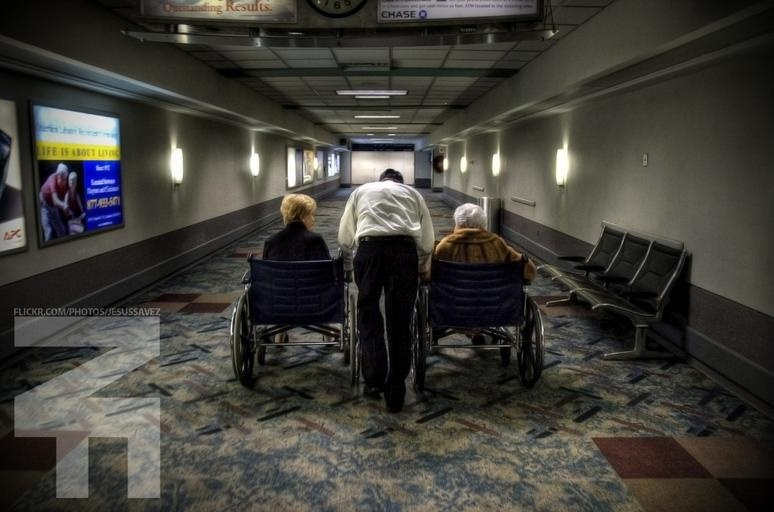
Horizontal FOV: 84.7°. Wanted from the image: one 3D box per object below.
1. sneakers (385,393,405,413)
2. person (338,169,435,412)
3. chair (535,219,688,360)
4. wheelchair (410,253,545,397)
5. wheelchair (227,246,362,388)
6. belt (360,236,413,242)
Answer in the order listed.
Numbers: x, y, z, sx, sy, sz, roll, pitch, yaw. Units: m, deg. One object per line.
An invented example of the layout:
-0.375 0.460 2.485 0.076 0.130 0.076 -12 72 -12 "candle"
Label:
0.065 1.232 3.508 0.112 0.168 0.180 0 -17 1 "sneakers"
0.010 0.317 3.667 0.618 1.887 0.742 -4 13 -34 "person"
2.695 0.309 5.362 0.935 1.111 2.208 -6 9 9 "chair"
0.800 0.431 4.235 0.963 0.980 1.408 0 9 1 "wheelchair"
-0.847 0.576 4.218 1.149 1.146 1.543 -2 3 -10 "wheelchair"
0.009 -0.147 3.480 0.423 0.058 0.079 2 10 -2 "belt"
